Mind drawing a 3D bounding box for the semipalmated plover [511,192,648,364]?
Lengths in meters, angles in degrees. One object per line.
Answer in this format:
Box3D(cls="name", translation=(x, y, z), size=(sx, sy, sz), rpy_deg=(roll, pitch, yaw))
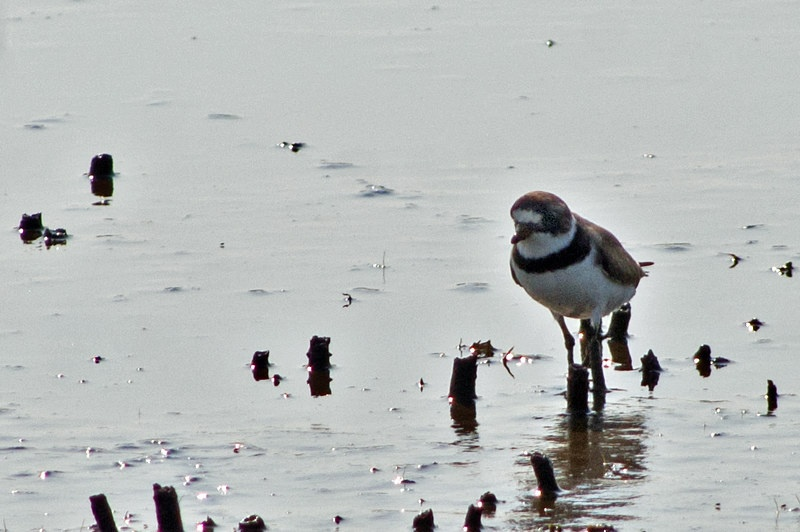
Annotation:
Box3D(cls="semipalmated plover", translation=(1.852, 0.013, 16.003), size=(1.399, 1.631, 0.568), rpy_deg=(-2, -5, -36))
